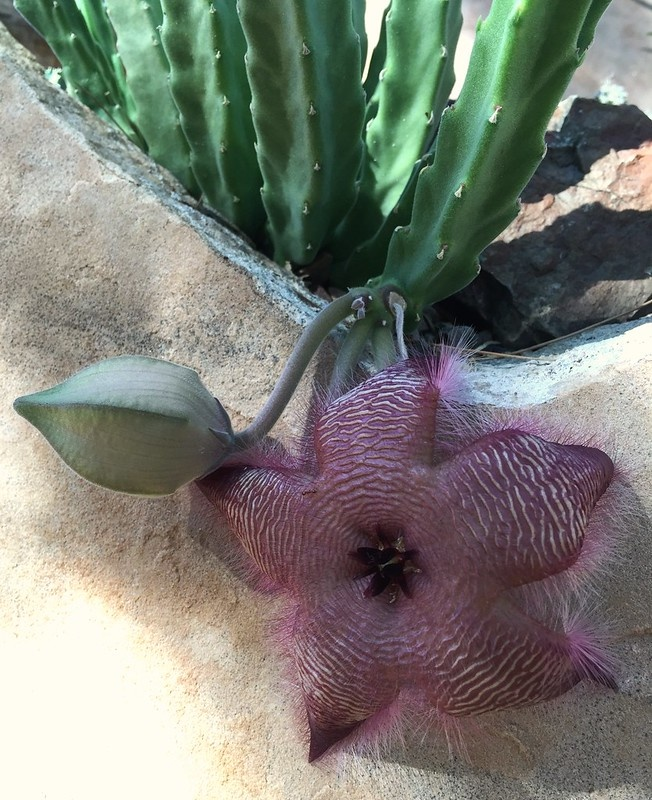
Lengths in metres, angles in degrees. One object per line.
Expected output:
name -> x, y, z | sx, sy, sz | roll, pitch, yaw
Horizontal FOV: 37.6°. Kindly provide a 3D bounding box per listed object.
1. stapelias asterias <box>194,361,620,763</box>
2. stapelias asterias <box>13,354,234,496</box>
stapelias asterias -> 0.097, 0.140, 0.979 | 0.404, 0.222, 0.384 | -17, 74, -3
stapelias asterias -> -0.212, 0.022, 0.992 | 0.240, 0.079, 0.133 | 10, 74, -31
